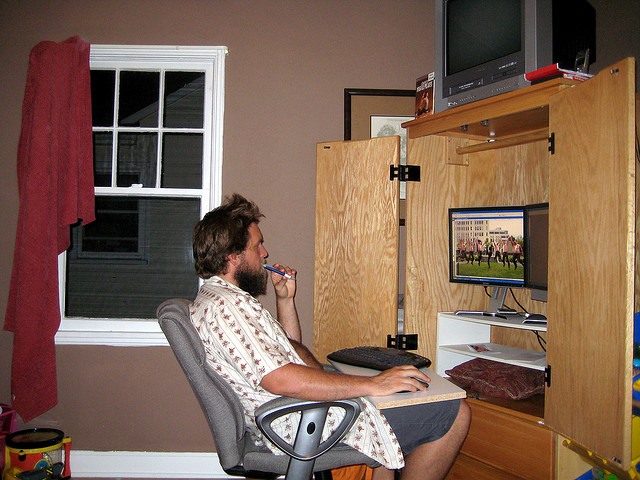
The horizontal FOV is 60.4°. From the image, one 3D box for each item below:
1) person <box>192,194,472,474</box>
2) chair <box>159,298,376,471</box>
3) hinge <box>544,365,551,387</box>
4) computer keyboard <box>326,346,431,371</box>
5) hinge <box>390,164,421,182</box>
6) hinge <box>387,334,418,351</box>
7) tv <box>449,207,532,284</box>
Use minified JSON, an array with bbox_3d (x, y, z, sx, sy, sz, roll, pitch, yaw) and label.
[{"bbox_3d":[-0.109,0.471,3.186,1.362,1.860,1.060,-7,-2,-12],"label":"person"},{"bbox_3d":[-0.298,0.618,2.680,0.746,0.905,0.779,-5,-2,-11],"label":"chair"},{"bbox_3d":[1.074,0.643,2.599,0.009,0.108,0.033,0,2,-13],"label":"hinge"},{"bbox_3d":[0.291,0.573,2.661,0.481,0.052,0.255,2,3,34],"label":"computer keyboard"},{"bbox_3d":[0.499,-0.389,3.227,0.191,0.101,0.038,0,2,-22],"label":"hinge"},{"bbox_3d":[0.481,0.594,3.194,0.171,0.096,0.041,4,-3,-7],"label":"hinge"},{"bbox_3d":[0.939,0.039,3.093,0.031,0.443,0.496,-3,3,-41],"label":"tv"}]
